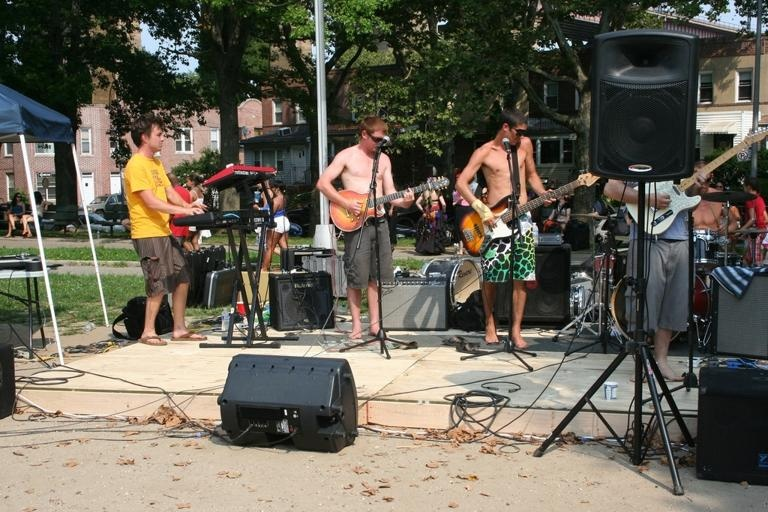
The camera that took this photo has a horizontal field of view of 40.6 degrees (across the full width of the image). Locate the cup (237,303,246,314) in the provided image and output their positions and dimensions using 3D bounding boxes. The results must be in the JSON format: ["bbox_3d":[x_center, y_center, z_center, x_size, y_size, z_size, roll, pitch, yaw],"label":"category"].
[{"bbox_3d":[-1.929,0.718,14.064,0.095,0.168,0.354,-1,1,-6],"label":"cup"}]

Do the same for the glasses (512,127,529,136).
[{"bbox_3d":[1.555,-1.449,12.125,0.138,0.042,0.136,2,33,-29],"label":"glasses"}]

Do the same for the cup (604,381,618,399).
[{"bbox_3d":[2.344,1.407,10.788,0.155,0.142,0.151,-1,-3,0],"label":"cup"}]

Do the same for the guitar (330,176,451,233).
[{"bbox_3d":[0.015,-0.616,12.511,1.549,0.575,0.193,-19,-5,19],"label":"guitar"}]

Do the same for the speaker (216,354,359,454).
[{"bbox_3d":[-0.970,1.478,10.464,1.346,0.861,0.992,1,3,20],"label":"speaker"}]

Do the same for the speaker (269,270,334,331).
[{"bbox_3d":[-0.933,0.614,13.507,0.823,0.725,0.504,-4,-4,17],"label":"speaker"}]

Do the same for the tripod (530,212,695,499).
[{"bbox_3d":[2.329,0.996,10.505,1.501,2.449,1.543,-1,2,15],"label":"tripod"}]

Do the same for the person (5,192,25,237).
[{"bbox_3d":[-11.560,-1.274,32.654,0.548,1.345,3.011,-2,2,-19],"label":"person"}]

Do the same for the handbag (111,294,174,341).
[{"bbox_3d":[-3.164,0.801,13.499,0.636,0.606,0.648,-10,8,-30],"label":"handbag"}]

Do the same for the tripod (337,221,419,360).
[{"bbox_3d":[-0.029,0.365,12.516,0.791,1.642,0.933,0,2,25],"label":"tripod"}]

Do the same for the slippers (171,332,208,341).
[{"bbox_3d":[-2.428,1.033,13.015,0.408,0.090,0.159,4,-4,-11],"label":"slippers"}]

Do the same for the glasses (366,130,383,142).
[{"bbox_3d":[-0.099,-1.422,12.448,0.179,0.131,0.067,-1,2,-1],"label":"glasses"}]

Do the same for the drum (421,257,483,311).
[{"bbox_3d":[0.890,0.395,13.573,0.364,0.484,0.500,11,37,36],"label":"drum"}]

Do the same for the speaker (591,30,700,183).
[{"bbox_3d":[2.722,-1.531,10.419,1.121,1.502,0.992,6,13,37],"label":"speaker"}]

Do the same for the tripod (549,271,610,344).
[{"bbox_3d":[2.602,0.614,13.281,0.854,1.018,0.731,4,5,15],"label":"tripod"}]
